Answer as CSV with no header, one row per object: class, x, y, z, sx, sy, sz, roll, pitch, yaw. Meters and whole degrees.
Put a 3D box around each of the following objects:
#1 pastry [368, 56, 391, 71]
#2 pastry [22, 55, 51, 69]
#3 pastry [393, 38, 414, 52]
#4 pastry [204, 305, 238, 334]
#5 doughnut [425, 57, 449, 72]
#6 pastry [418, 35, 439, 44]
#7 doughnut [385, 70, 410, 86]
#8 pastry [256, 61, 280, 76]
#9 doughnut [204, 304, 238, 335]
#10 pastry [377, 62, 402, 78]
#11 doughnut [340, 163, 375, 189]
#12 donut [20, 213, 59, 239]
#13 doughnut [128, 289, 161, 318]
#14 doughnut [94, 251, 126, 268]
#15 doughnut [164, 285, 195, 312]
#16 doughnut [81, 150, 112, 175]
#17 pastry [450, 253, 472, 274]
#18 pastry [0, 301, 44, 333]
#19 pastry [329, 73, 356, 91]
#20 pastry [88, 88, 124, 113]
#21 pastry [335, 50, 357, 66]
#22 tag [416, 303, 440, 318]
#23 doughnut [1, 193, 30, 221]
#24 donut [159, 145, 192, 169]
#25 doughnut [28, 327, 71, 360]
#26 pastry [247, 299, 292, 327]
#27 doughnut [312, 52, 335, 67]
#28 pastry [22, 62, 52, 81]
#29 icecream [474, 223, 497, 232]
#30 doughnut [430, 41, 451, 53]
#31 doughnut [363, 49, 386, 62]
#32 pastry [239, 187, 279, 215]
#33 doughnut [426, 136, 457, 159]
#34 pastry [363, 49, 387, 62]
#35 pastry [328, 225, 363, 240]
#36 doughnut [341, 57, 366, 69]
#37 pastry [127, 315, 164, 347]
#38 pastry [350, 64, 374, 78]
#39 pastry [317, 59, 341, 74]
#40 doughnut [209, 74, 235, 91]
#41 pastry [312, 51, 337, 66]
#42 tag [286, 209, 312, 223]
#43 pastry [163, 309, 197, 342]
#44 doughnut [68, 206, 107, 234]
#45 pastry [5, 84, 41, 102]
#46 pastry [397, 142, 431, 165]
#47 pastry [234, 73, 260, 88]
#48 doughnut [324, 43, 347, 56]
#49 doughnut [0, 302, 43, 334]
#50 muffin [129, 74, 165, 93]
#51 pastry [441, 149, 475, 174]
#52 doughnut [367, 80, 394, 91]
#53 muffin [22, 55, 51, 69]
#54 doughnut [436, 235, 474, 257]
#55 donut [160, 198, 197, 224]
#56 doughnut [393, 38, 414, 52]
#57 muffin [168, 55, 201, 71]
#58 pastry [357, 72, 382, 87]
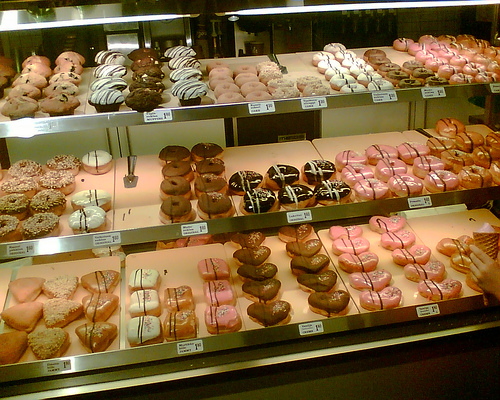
pastry,0.680,-0.737,1.862,0.116,0.042,0.106,-5,43,-4
pastry,-1.083,-0.715,1.801,0.108,0.030,0.094,6,40,1
pastry,0.898,-0.928,2.094,0.095,0.038,0.098,3,35,12
pastry,-0.138,0.549,1.654,0.155,0.074,0.144,-2,24,5
doughnut,0.975,-0.722,1.856,0.119,0.040,0.110,-6,34,-2
pastry,1.050,-0.970,2.121,0.099,0.032,0.092,2,29,2
doughnut,0.707,-0.595,1.699,0.097,0.035,0.091,-2,32,1
pastry,0.088,-0.666,1.790,0.113,0.035,0.105,-2,39,1
doughnut,-0.136,0.557,1.659,0.164,0.074,0.143,-6,23,-12
pastry,0.698,-0.670,1.788,0.106,0.039,0.098,-3,39,-1
doughnut,0.576,-0.127,1.886,0.184,0.064,0.179,7,30,22
donut,-0.902,0.111,1.517,0.146,0.060,0.161,-22,30,-35
doughnut,-0.520,0.510,1.740,0.146,0.090,0.172,-10,25,-12
doughnut,-0.810,0.345,2.049,0.172,0.061,0.151,-13,25,-20
doughnut,-0.370,0.491,1.783,0.180,0.071,0.162,4,28,4
doughnut,-0.885,-0.224,2.042,0.169,0.085,0.175,29,36,28
pastry,1.129,0.335,1.903,0.107,0.080,0.100,14,30,35
pastry,-1.087,0.552,1.680,0.136,0.048,0.139,9,27,19
pastry,0.424,-0.570,1.665,0.102,0.037,0.093,-4,41,-4
pastry,-0.583,-0.400,1.429,0.118,0.075,0.109,-1,34,-3
pastry,0.518,-0.811,1.957,0.111,0.039,0.103,-2,36,4
tag,0.863,0.537,1.722,0.107,0.049,0.023,-4,-4,-7
doughnut,-1.100,0.023,1.677,0.125,0.046,0.126,3,35,-2
donut,-0.436,-0.254,1.996,0.144,0.062,0.138,-2,15,2
doughnut,-0.907,0.603,1.565,0.143,0.130,0.038,-32,14,15
pastry,0.082,0.535,1.700,0.215,0.060,0.209,-6,14,5
doughnut,0.389,-0.746,1.874,0.124,0.040,0.114,-4,37,2
pastry,-1.021,-0.633,1.725,0.128,0.043,0.114,-28,54,-36
icecream,1.296,0.143,1.936,0.062,0.024,0.060,1,7,21
doughnut,1.099,-0.899,2.050,0.108,0.033,0.101,0,37,7
doughnut,0.680,-0.813,1.961,0.106,0.037,0.099,1,34,3
pastry,0.043,0.000,1.666,0.174,0.069,0.243,8,26,26
doughnut,1.103,-0.337,2.061,0.153,0.051,0.140,-6,38,-4
pastry,0.682,-0.815,1.963,0.114,0.039,0.106,0,34,2
pastry,0.567,0.191,2.085,0.147,0.040,0.090,-1,24,4
doughnut,0.533,-0.720,1.855,0.101,0.033,0.093,-8,30,-3
pastry,-0.472,0.583,1.578,0.135,0.068,0.125,-5,32,-13
pastry,0.550,-0.661,1.781,0.103,0.036,0.096,-2,32,3
pastry,0.394,-0.678,1.795,0.110,0.033,0.102,-1,37,4
doughnut,-0.138,-0.550,1.656,0.105,0.035,0.097,2,37,4
pastry,0.396,-0.756,1.887,0.129,0.045,0.119,-3,32,1
tag,0.218,0.075,1.606,0.112,0.051,0.021,-7,-10,2
pastry,-0.321,0.559,1.598,0.125,0.058,0.123,-2,35,-7
doughnut,-0.729,0.089,1.593,0.160,0.073,0.159,-19,28,-31
pastry,-0.944,-0.456,1.482,0.112,0.059,0.104,-3,32,-11
pastry,0.921,-0.278,2.005,0.149,0.049,0.139,-8,33,3
pastry,-0.017,-0.573,1.694,0.111,0.040,0.103,0,35,4
doughnut,0.477,-0.875,2.018,0.098,0.031,0.096,0,33,3
doughnut,-1.086,0.550,1.670,0.132,0.057,0.133,9,21,5
muffin,-0.435,-0.494,1.481,0.109,0.055,0.106,12,32,24
pastry,1.130,-0.220,1.953,0.195,0.071,0.185,1,26,7
doughnut,0.572,-0.509,1.567,0.088,0.030,0.082,0,28,4
muffin,-1.092,-0.715,1.799,0.106,0.030,0.095,17,41,14
doughnut,1.169,0.263,1.984,0.186,0.085,0.143,-10,25,-12
donut,-0.322,0.054,1.570,0.167,0.083,0.177,-11,25,-15
doughnut,0.898,-0.938,2.108,0.092,0.038,0.097,2,34,12
muffin,-0.333,-0.681,1.752,0.125,0.042,0.132,-1,23,-1
pastry,0.560,-0.582,1.682,0.096,0.035,0.090,-3,35,6
